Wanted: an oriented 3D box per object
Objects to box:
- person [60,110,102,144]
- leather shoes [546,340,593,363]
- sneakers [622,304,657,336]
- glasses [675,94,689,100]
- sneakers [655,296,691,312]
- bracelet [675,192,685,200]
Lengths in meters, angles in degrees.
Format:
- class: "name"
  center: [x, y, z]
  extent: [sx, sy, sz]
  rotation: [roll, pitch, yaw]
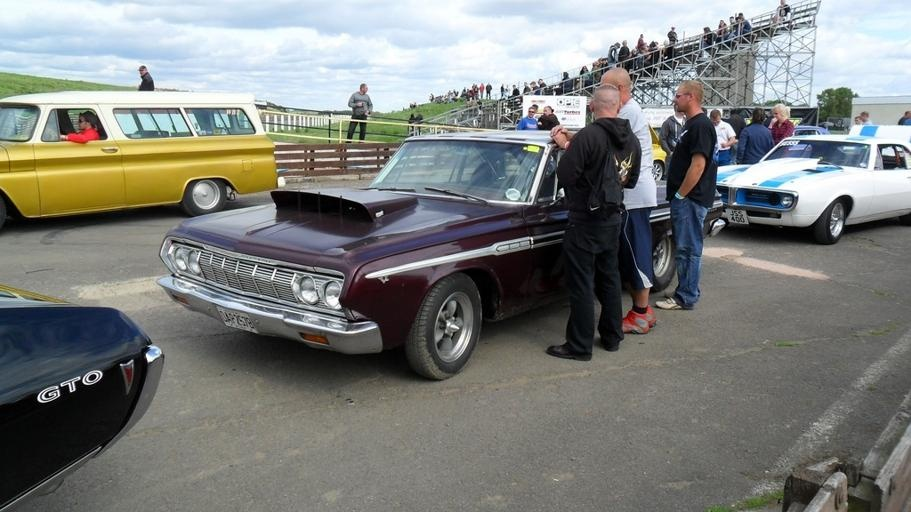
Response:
- class: "person"
  center: [-7.339, -2.488, 9.723]
  extent: [0.677, 0.546, 0.966]
  rotation: [-7, 20, -33]
- class: "leather shoes"
  center: [1.257, 1.072, 5.502]
  extent: [0.507, 0.200, 0.208]
  rotation: [9, 5, 17]
- class: "sneakers"
  center: [2.252, 0.797, 6.041]
  extent: [0.596, 0.235, 0.217]
  rotation: [-7, 13, 11]
- class: "glasses"
  center: [2.882, -2.025, 6.232]
  extent: [0.155, 0.064, 0.062]
  rotation: [13, 24, 39]
- class: "sneakers"
  center: [2.976, 0.655, 6.766]
  extent: [0.489, 0.178, 0.166]
  rotation: [5, 3, 8]
- class: "bracelet"
  center: [2.939, -0.779, 6.424]
  extent: [0.094, 0.091, 0.069]
  rotation: [8, 64, 43]
